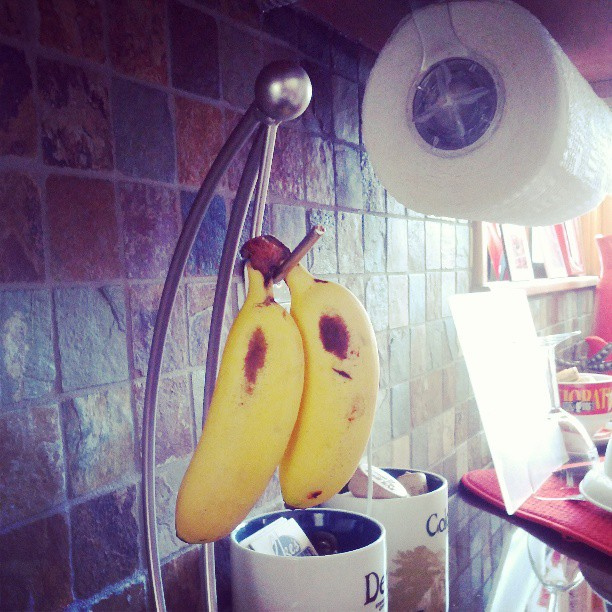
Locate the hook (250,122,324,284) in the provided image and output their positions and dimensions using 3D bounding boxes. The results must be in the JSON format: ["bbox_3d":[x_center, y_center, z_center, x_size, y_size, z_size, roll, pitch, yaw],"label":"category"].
[{"bbox_3d":[-0.025,-0.111,0.586,0.059,0.201,0.306,1,-4,-6],"label":"hook"}]

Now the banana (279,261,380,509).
[{"bbox_3d":[0.016,0.063,0.525,0.088,0.186,0.095,4,18,-1],"label":"banana"}]

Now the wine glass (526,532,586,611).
[{"bbox_3d":[0.311,0.324,0.743,0.052,0.041,0.124,1,-4,9],"label":"wine glass"}]

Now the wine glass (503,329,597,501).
[{"bbox_3d":[0.439,0.173,1.052,0.137,0.259,0.405,-1,-4,27],"label":"wine glass"}]

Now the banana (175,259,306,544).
[{"bbox_3d":[-0.048,0.070,0.442,0.092,0.212,0.041,2,-3,-19],"label":"banana"}]

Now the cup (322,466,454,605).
[{"bbox_3d":[0.105,0.241,0.811,0.141,0.220,0.169,-3,3,-35],"label":"cup"}]

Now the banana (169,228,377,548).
[{"bbox_3d":[-0.004,0.067,0.498,0.136,0.079,0.318,2,45,3],"label":"banana"}]
